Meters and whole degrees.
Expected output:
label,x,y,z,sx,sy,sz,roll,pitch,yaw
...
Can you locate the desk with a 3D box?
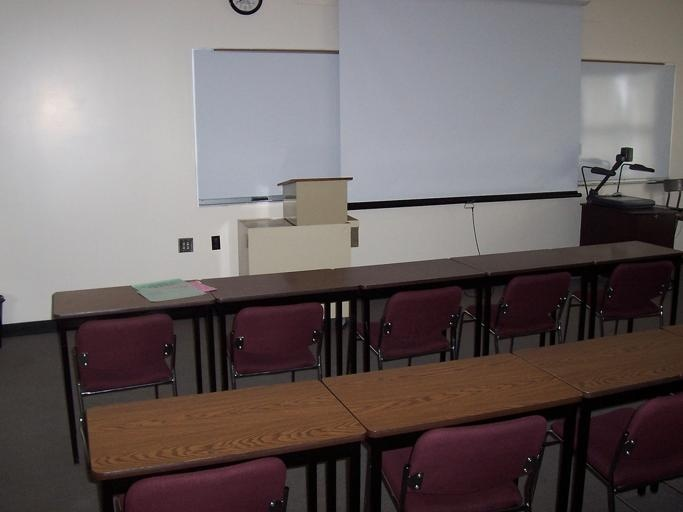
label,x,y,z,sx,sy,sz,roll,pitch,yaw
desk,3.190,-0.503,6.106,0.579,0.879,0.891,-4,12,-22
